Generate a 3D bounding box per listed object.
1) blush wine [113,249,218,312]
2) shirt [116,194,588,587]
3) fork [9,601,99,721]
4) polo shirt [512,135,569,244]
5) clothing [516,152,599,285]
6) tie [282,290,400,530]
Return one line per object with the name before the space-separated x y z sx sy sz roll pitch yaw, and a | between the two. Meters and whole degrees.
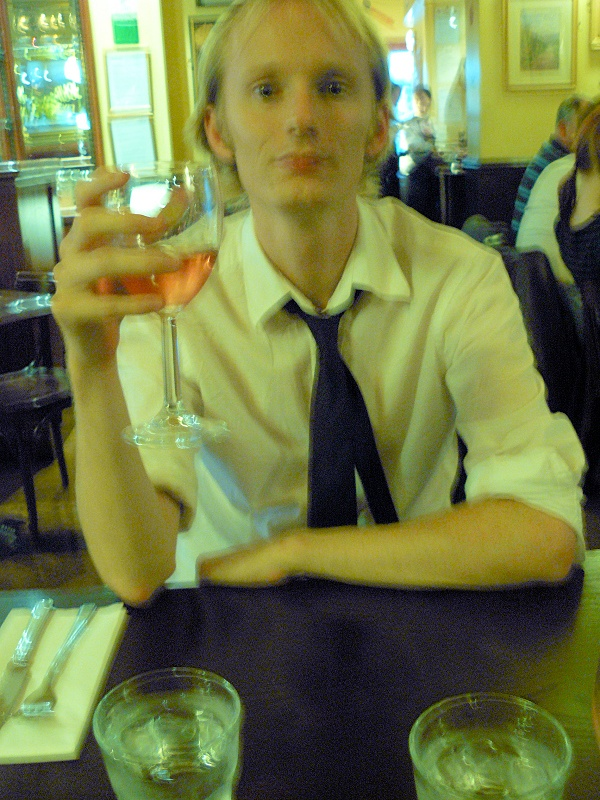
blush wine | -0.094 -0.075 0.489 0.051 0.040 0.049 -26 6 -12
shirt | 0.046 -0.008 0.819 0.447 0.603 0.328 -5 10 -4
fork | -0.146 0.155 0.403 0.016 0.093 0.007 26 3 -1
polo shirt | 0.403 -0.360 1.112 0.097 0.135 0.036 19 36 2
clothing | 0.440 -0.308 1.136 0.042 0.153 0.108 18 17 38
tie | 0.064 0.034 0.823 0.108 0.283 0.189 -2 9 5
